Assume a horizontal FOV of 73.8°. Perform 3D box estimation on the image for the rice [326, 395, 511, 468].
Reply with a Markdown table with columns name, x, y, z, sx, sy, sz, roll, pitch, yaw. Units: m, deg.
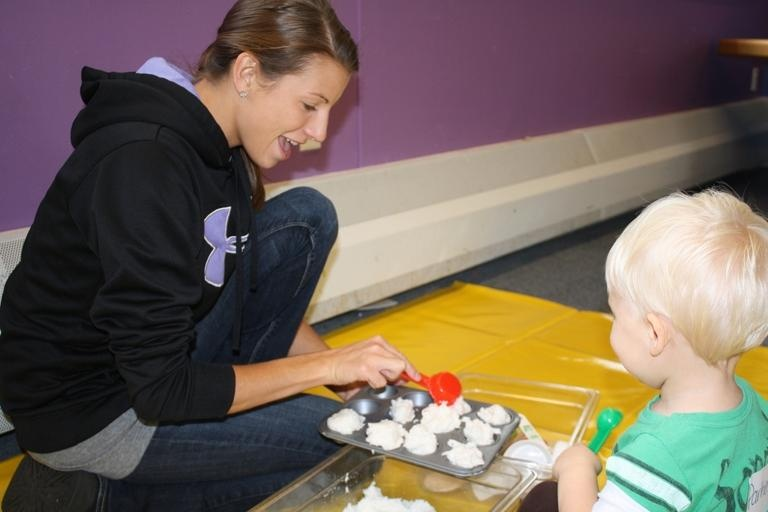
| name | x | y | z | sx | sy | sz | roll | pitch | yaw |
| --- | --- | --- | --- | --- | --- | --- | --- | --- | --- |
| rice | 0.080 | 0.363 | 1.259 | 0.402 | 0.121 | 0.344 | -6 | 12 | -3 |
